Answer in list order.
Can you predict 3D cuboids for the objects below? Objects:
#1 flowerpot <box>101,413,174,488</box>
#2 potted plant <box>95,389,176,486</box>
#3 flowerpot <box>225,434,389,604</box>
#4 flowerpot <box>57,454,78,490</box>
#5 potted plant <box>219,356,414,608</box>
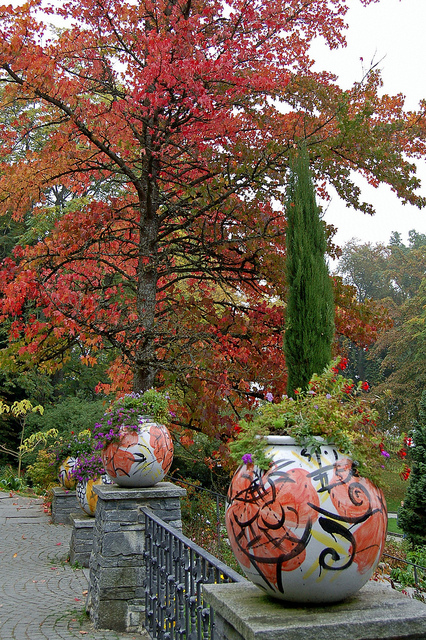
[{"bbox_3d":[-0.667,1.158,5.235,0.651,0.616,0.599,-1,-9,4],"label":"flowerpot"},{"bbox_3d":[-0.656,1.046,5.298,0.770,0.858,0.674,-10,-11,4],"label":"potted plant"},{"bbox_3d":[0.337,0.721,2.195,0.593,0.514,0.573,-11,-15,36],"label":"flowerpot"},{"bbox_3d":[-2.323,2.430,9.385,0.303,0.568,0.840,6,-11,-13],"label":"flowerpot"},{"bbox_3d":[0.481,0.629,2.522,0.868,1.083,0.880,0,-12,4],"label":"potted plant"}]
